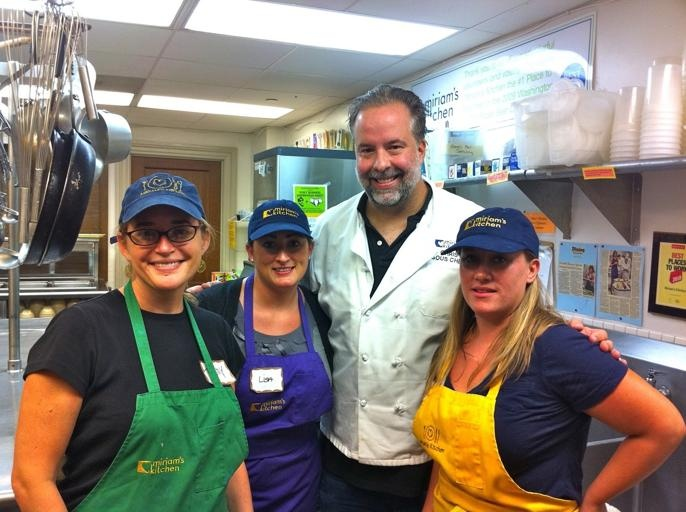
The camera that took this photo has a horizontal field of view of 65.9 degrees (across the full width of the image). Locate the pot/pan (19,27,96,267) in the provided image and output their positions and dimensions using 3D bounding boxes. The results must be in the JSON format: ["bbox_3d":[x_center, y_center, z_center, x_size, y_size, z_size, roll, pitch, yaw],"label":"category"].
[{"bbox_3d":[-0.851,-0.331,1.703,0.102,0.639,0.365,1,7,-18],"label":"pot/pan"}]

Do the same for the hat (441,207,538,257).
[{"bbox_3d":[0.507,-0.083,1.813,0.263,0.182,0.357,2,-4,25],"label":"hat"}]

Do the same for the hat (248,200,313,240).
[{"bbox_3d":[-0.256,-0.144,2.096,0.255,0.174,0.328,0,-4,-26],"label":"hat"}]

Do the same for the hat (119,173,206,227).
[{"bbox_3d":[-0.547,-0.169,1.608,0.254,0.176,0.327,-5,-6,-20],"label":"hat"}]

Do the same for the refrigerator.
[{"bbox_3d":[-0.201,-0.567,4.142,0.605,0.623,0.337,1,25,-8],"label":"refrigerator"}]
